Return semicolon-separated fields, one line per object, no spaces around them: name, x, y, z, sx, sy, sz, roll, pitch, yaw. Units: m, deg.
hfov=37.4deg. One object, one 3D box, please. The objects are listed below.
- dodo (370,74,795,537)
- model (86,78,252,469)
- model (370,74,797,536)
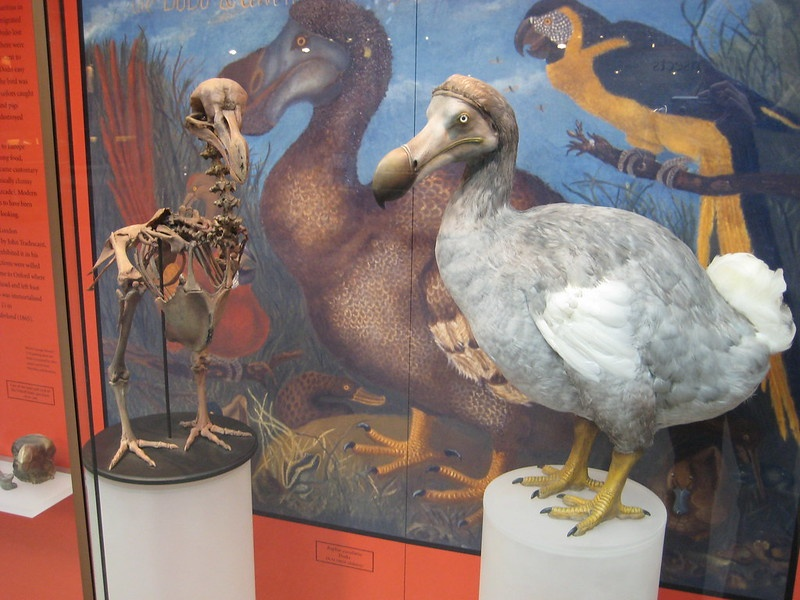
dodo;0.426;-0.066;3.677;1.371;1.459;0.786;2;1;13
model;-0.629;-0.097;3.279;0.428;1.025;0.585;-1;12;-9
model;0.431;-0.063;3.673;1.368;1.462;0.787;2;1;13
